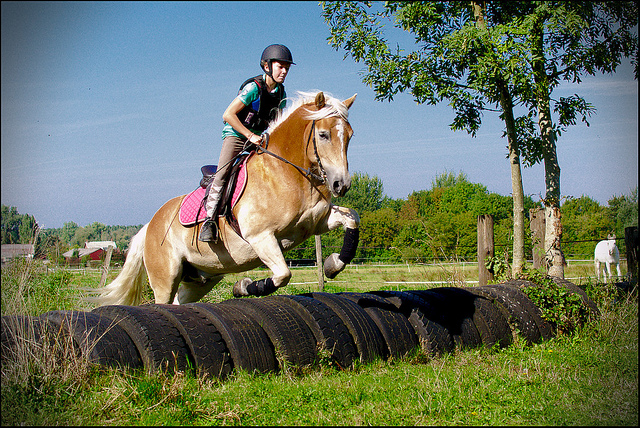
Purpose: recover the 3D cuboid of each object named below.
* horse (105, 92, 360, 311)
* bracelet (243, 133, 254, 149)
[{"bbox_3d":[-1.205,-0.176,8.375,3.720,3.133,0.868,-2,-7,28],"label":"horse"},{"bbox_3d":[-1.041,-1.065,8.107,0.044,0.179,0.191,31,-18,-1],"label":"bracelet"}]
